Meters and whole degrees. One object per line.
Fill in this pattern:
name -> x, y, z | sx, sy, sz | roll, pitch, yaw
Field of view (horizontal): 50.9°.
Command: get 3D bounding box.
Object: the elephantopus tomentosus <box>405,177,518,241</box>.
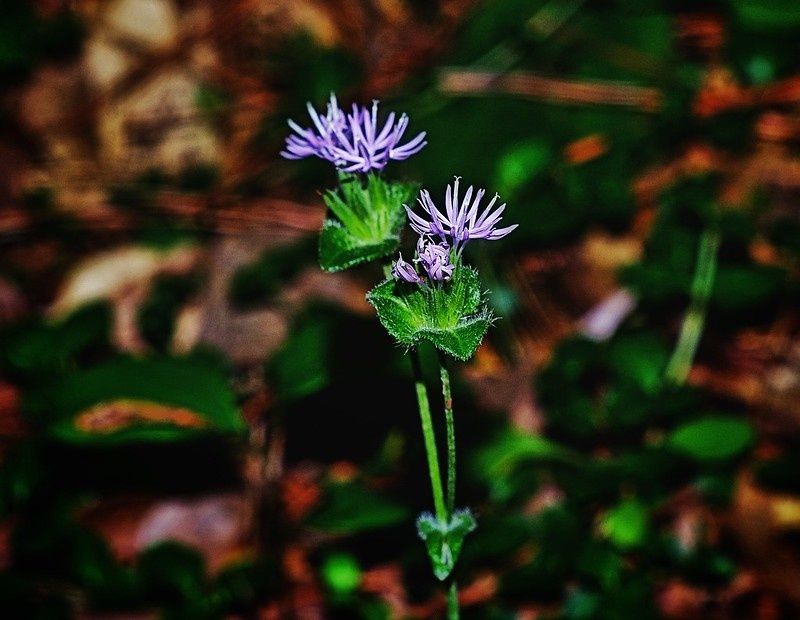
elephantopus tomentosus -> 0.076, -0.129, 1.143 | 0.127, 0.072, 0.132 | 11, 8, -1

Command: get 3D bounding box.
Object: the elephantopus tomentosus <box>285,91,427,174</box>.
elephantopus tomentosus -> -0.058, -0.235, 1.155 | 0.159, 0.155, 0.073 | -8, -63, -7
